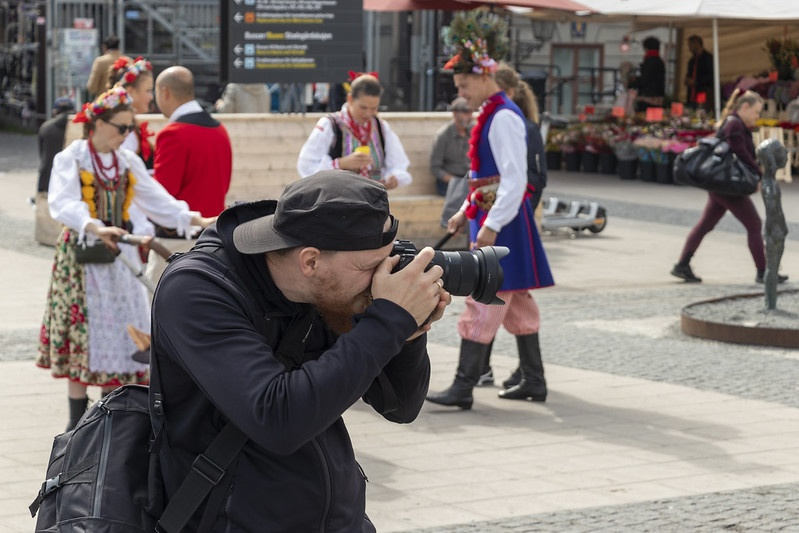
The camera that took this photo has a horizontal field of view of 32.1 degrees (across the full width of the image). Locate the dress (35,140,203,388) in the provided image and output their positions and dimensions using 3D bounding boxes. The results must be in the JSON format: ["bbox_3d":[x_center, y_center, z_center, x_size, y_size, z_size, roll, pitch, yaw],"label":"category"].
[{"bbox_3d":[-2.192,-0.027,10.823,1.560,1.864,1.384,1,2,3],"label":"dress"}]

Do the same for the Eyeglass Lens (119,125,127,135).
[{"bbox_3d":[-2.160,-1.064,10.853,0.021,0.064,0.064,-32,-24,26],"label":"Eyeglass Lens"}]

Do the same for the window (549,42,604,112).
[{"bbox_3d":[3.605,-3.893,28.415,1.086,1.768,0.153,-1,52,3],"label":"window"}]

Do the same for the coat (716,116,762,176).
[{"bbox_3d":[3.771,-1.356,15.412,0.499,0.625,0.515,4,7,12],"label":"coat"}]

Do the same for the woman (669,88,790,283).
[{"bbox_3d":[3.630,-0.885,15.474,1.080,2.151,0.830,6,7,20],"label":"woman"}]

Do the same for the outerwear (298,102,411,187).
[{"bbox_3d":[-0.402,-1.078,13.041,1.157,0.755,0.595,-1,18,-26],"label":"outerwear"}]

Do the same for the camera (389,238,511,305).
[{"bbox_3d":[0.241,0.038,8.286,0.782,0.365,0.466,-1,9,-22],"label":"camera"}]

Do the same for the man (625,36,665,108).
[{"bbox_3d":[4.617,-3.577,25.928,0.511,0.704,1.520,7,32,15],"label":"man"}]

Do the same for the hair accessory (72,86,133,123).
[{"bbox_3d":[-2.320,-1.257,10.842,0.382,0.156,0.263,-24,15,-10],"label":"hair accessory"}]

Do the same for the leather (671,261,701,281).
[{"bbox_3d":[3.163,0.074,15.428,0.389,0.168,0.140,15,9,-8],"label":"leather"}]

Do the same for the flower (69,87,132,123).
[{"bbox_3d":[-2.331,-1.265,10.832,0.374,0.152,0.270,-22,4,-2],"label":"flower"}]

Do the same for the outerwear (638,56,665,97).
[{"bbox_3d":[4.669,-3.461,25.669,0.425,0.658,0.756,5,6,29],"label":"outerwear"}]

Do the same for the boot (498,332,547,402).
[{"bbox_3d":[1.033,0.845,11.619,0.428,0.542,0.181,-3,-3,20],"label":"boot"}]
